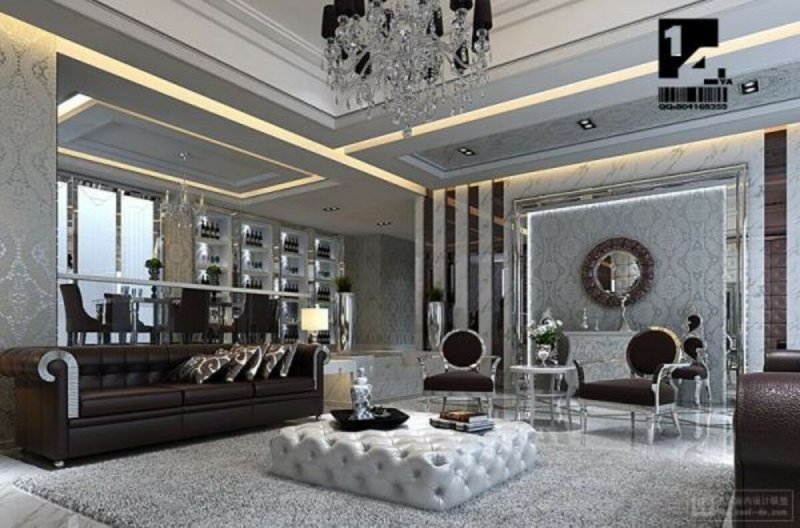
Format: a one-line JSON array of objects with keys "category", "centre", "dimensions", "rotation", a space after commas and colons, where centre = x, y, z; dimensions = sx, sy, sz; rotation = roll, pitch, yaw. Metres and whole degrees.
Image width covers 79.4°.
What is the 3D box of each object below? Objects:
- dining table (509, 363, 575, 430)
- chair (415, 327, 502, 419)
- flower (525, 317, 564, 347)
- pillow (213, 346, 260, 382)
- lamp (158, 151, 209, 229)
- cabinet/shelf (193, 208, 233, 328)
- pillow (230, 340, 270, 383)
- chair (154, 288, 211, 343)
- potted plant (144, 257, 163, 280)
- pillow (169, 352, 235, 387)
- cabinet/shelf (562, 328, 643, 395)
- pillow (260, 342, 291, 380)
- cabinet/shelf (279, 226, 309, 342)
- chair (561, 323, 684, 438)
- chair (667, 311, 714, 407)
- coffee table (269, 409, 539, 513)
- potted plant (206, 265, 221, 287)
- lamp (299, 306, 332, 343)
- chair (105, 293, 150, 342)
[{"category": "dining table", "centre": [1.840, 1.651, 6.607], "dimensions": [0.773, 0.644, 0.790], "rotation": [4, 2, 39]}, {"category": "chair", "centre": [0.833, 1.509, 6.401], "dimensions": [1.169, 1.236, 1.108], "rotation": [-5, -10, 34]}, {"category": "flower", "centre": [2.275, 1.064, 7.480], "dimensions": [0.648, 0.422, 0.639], "rotation": [-1, -1, -40]}, {"category": "pillow", "centre": [-1.927, 1.179, 5.801], "dimensions": [0.405, 0.402, 0.124], "rotation": [10, -45, -18]}, {"category": "lamp", "centre": [-3.941, -1.352, 8.789], "dimensions": [0.601, 0.906, 0.564], "rotation": [7, 17, 13]}, {"category": "cabinet/shelf", "centre": [-4.124, 0.102, 10.394], "dimensions": [0.896, 2.175, 0.377], "rotation": [4, -9, -40]}, {"category": "pillow", "centre": [-1.828, 1.195, 5.886], "dimensions": [0.376, 0.340, 0.113], "rotation": [-2, -29, 39]}, {"category": "chair", "centre": [-3.036, 0.741, 6.724], "dimensions": [0.761, 0.764, 0.727], "rotation": [3, -11, -42]}, {"category": "potted plant", "centre": [-3.902, 0.088, 7.656], "dimensions": [0.177, 0.367, 0.694], "rotation": [2, -5, -23]}, {"category": "pillow", "centre": [-2.336, 1.208, 5.573], "dimensions": [0.386, 0.118, 0.397], "rotation": [0, 9, 12]}, {"category": "cabinet/shelf", "centre": [2.964, 1.396, 6.975], "dimensions": [1.265, 1.139, 0.519], "rotation": [-4, -10, 30]}, {"category": "pillow", "centre": [-1.570, 1.151, 6.206], "dimensions": [0.347, 0.076, 0.363], "rotation": [-5, 22, 13]}, {"category": "cabinet/shelf", "centre": [-2.779, 0.051, 12.437], "dimensions": [0.616, 2.020, 0.220], "rotation": [4, -23, -23]}, {"category": "chair", "centre": [2.631, 1.322, 5.484], "dimensions": [1.120, 1.200, 1.069], "rotation": [-4, -7, 28]}, {"category": "chair", "centre": [4.517, 1.440, 7.460], "dimensions": [0.464, 1.174, 0.442], "rotation": [15, -25, -30]}, {"category": "coffee table", "centre": [-0.078, 1.528, 3.730], "dimensions": [0.918, 0.245, 0.952], "rotation": [-4, -5, 43]}, {"category": "potted plant", "centre": [-3.392, 0.220, 8.803], "dimensions": [0.193, 0.363, 0.715], "rotation": [1, -5, -17]}, {"category": "lamp", "centre": [-1.294, 1.017, 7.382], "dimensions": [0.433, 0.645, 0.434], "rotation": [-5, -10, 19]}, {"category": "chair", "centre": [-3.512, 0.690, 6.092], "dimensions": [0.551, 0.706, 0.549], "rotation": [-4, -8, 26]}]
